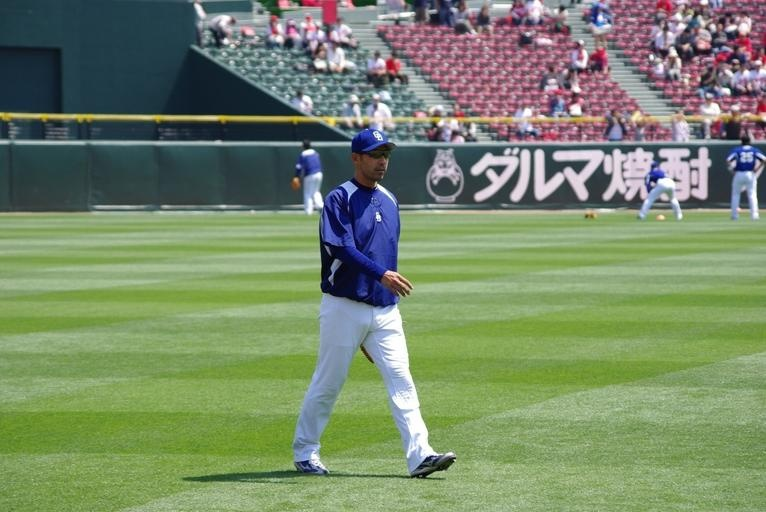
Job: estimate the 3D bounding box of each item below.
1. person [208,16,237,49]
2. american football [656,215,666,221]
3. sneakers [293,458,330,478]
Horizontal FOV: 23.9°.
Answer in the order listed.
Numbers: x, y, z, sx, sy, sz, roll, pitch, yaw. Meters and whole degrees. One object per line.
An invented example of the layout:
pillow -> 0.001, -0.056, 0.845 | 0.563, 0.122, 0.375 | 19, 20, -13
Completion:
person -> -5.022, -6.983, 55.937 | 0.795, 0.987, 0.947 | 0, 5, -6
american football -> 7.756, -1.055, 50.317 | 0.230, 0.114, 0.208 | -1, 12, 7
sneakers -> -1.311, 3.857, 32.897 | 0.726, 0.261, 0.254 | 2, 1, 17
